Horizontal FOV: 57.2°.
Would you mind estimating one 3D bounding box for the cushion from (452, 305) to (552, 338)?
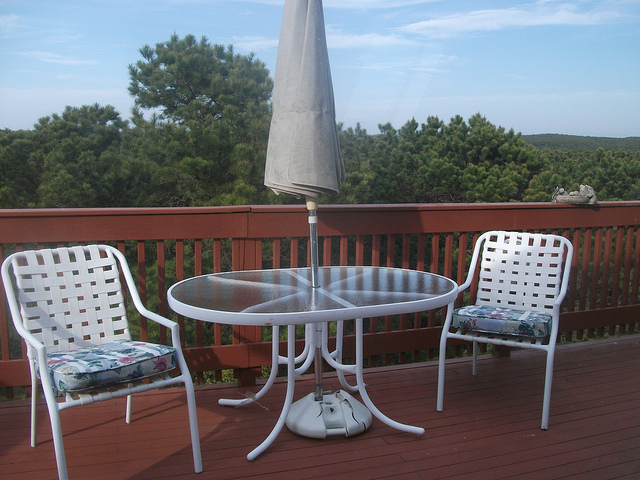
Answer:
[{"bbox_3d":[1.157,0.519,3.759,0.592,0.139,0.298,2,10,22],"label":"cushion"}]

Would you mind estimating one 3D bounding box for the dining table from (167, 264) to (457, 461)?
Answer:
[{"bbox_3d":[-0.105,0.438,3.488,1.656,0.871,1.097,-1,2,-19],"label":"dining table"}]

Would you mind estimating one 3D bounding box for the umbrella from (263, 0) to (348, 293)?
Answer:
[{"bbox_3d":[-0.106,-0.560,3.403,0.448,1.629,0.442,2,11,24],"label":"umbrella"}]

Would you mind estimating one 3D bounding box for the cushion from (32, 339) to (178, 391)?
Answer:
[{"bbox_3d":[-1.206,0.688,3.289,0.749,0.155,0.814,-4,1,-8],"label":"cushion"}]

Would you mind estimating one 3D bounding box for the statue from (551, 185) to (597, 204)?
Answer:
[{"bbox_3d":[2.076,-0.367,4.749,0.385,0.166,0.159,-1,7,3],"label":"statue"}]
